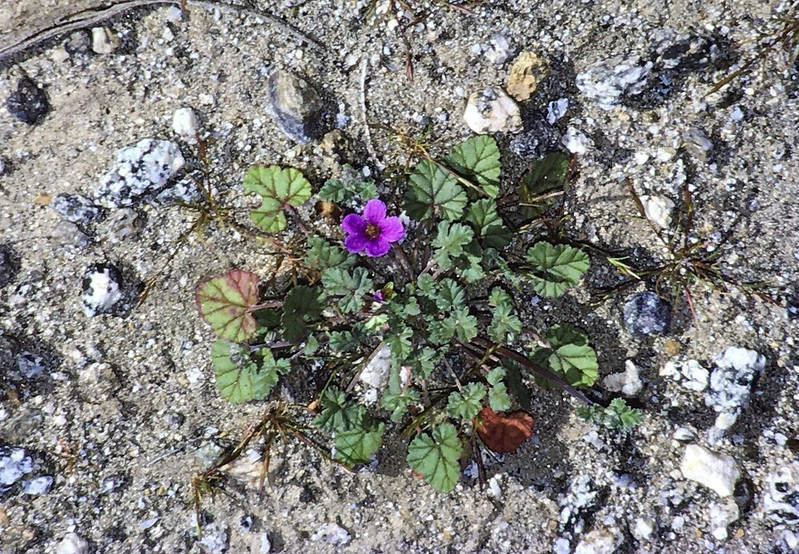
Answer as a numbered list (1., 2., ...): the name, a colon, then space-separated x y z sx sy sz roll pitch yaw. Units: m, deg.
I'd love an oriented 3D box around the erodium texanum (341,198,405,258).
1. erodium texanum: -0.168 -0.308 4.764 0.430 0.483 0.138 -22 53 -5
